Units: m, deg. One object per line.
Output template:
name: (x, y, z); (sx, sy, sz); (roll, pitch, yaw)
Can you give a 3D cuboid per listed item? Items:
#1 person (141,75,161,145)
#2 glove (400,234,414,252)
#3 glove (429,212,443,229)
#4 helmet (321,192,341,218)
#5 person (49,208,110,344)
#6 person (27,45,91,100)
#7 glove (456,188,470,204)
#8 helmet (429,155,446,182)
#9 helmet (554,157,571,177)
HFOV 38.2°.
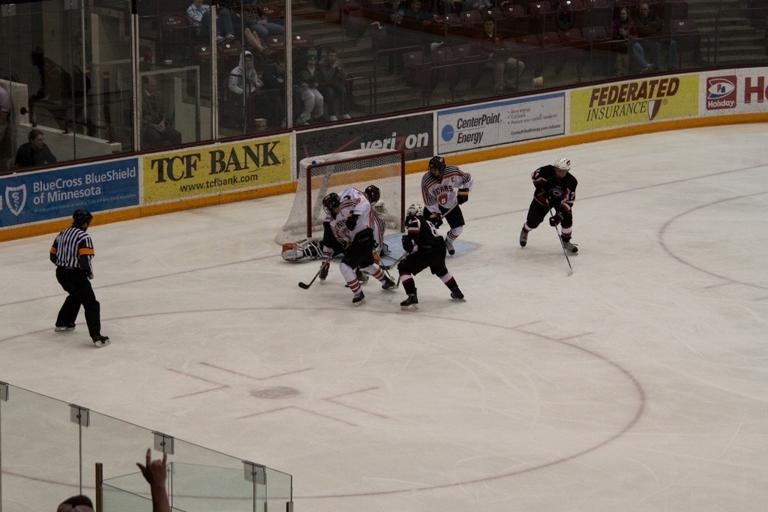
person: (-4.082, -2.520, 19.403); (0.386, 1.230, 0.097); (-17, 20, -41)
glove: (0.335, -0.174, 15.879); (0.215, 0.217, 0.262); (0, 1, 0)
glove: (0.817, -0.541, 17.686); (0.226, 0.272, 0.101); (-7, -22, -31)
helmet: (-0.766, -0.716, 15.910); (0.258, 0.365, 0.249); (3, 15, 22)
person: (-4.115, 0.284, 14.771); (0.676, 1.783, 0.747); (-7, 15, -15)
person: (-5.453, -2.935, 18.672); (0.712, 0.390, 1.052); (25, 19, 17)
glove: (1.299, -0.979, 17.809); (0.238, 0.185, 0.220); (5, 21, 18)
helmet: (0.835, -1.432, 17.508); (0.329, 0.324, 0.365); (-5, 26, 10)
helmet: (2.808, -1.408, 17.597); (0.238, 0.284, 0.497); (-1, 12, 6)
